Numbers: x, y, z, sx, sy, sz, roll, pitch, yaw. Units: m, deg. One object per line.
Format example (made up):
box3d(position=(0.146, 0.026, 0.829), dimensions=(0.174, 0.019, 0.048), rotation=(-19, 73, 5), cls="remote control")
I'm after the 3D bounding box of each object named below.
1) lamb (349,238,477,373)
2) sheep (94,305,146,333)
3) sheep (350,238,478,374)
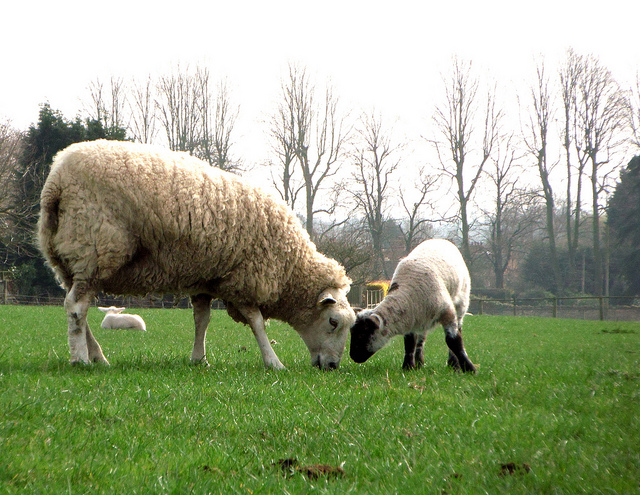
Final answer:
box3d(position=(1.659, 0.782, 10.416), dimensions=(1.058, 1.621, 2.835), rotation=(-8, -1, 30), cls="lamb")
box3d(position=(-6.093, 2.178, 20.573), dimensions=(1.700, 0.929, 0.828), rotation=(9, 2, 22), cls="sheep")
box3d(position=(1.558, 0.837, 10.293), dimensions=(1.430, 1.863, 2.421), rotation=(1, 1, 26), cls="sheep")
